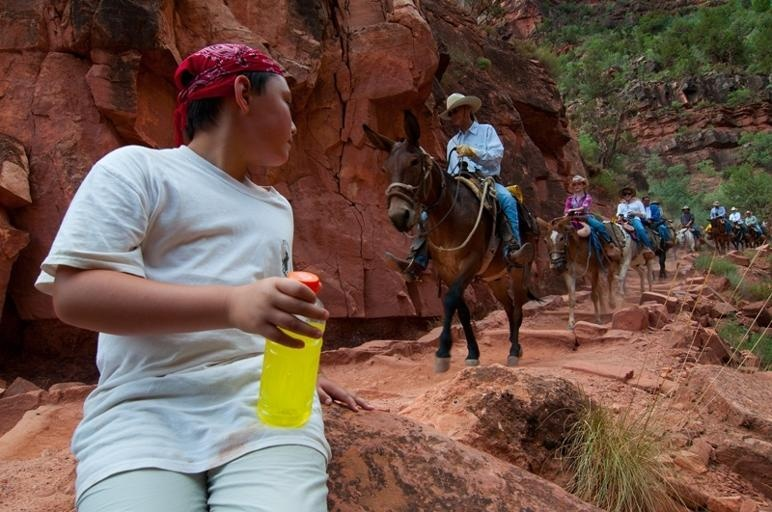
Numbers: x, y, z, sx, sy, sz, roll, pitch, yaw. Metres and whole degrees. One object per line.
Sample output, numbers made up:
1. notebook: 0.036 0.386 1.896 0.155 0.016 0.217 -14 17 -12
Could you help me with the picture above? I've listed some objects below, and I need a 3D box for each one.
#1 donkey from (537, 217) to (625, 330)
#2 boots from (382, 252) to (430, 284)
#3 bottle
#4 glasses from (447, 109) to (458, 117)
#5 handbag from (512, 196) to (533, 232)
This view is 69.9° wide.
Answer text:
1. donkey: 4.526 0.299 12.525 0.884 2.351 3.535 0 -1 35
2. boots: 0.301 0.195 9.741 0.238 0.667 0.315 -44 14 34
3. bottle: -0.560 0.519 3.341 0.380 0.974 0.364 1 4 0
4. glasses: 1.169 -2.517 9.606 0.131 0.069 0.119 -16 2 -37
5. handbag: 2.378 -0.726 9.406 0.225 0.552 0.409 -7 0 18
